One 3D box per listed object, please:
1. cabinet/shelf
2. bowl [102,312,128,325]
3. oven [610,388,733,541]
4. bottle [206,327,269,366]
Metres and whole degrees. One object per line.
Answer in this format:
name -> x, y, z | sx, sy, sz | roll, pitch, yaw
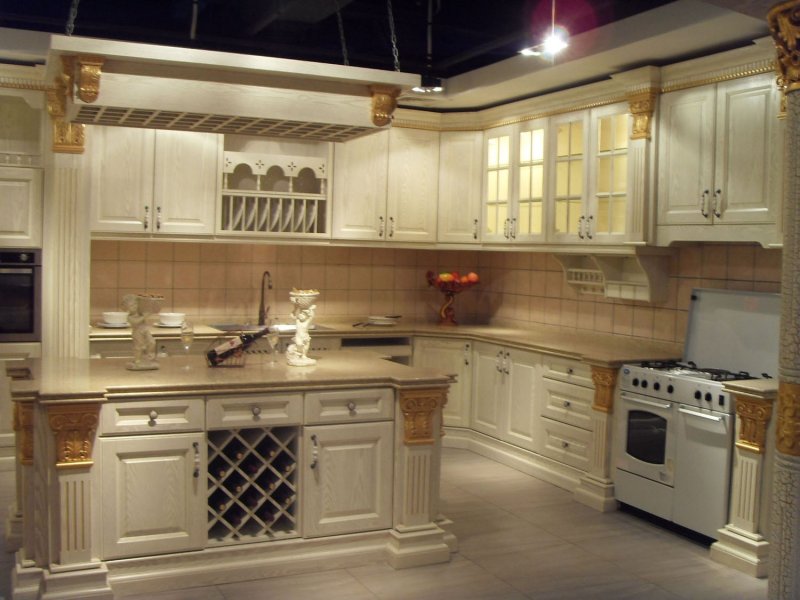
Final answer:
cabinet/shelf -> 0.220, -0.368, 4.894 | 3.980, 2.441, 3.906 | 2, -3, -28
bowl -> -2.290, 0.137, 4.948 | 0.133, 0.057, 0.131 | 0, 0, 0
oven -> 1.928, 0.994, 4.065 | 0.533, 0.960, 1.014 | 8, -4, -19
bottle -> -1.077, 0.303, 4.066 | 0.321, 0.114, 0.094 | -25, 47, -13
